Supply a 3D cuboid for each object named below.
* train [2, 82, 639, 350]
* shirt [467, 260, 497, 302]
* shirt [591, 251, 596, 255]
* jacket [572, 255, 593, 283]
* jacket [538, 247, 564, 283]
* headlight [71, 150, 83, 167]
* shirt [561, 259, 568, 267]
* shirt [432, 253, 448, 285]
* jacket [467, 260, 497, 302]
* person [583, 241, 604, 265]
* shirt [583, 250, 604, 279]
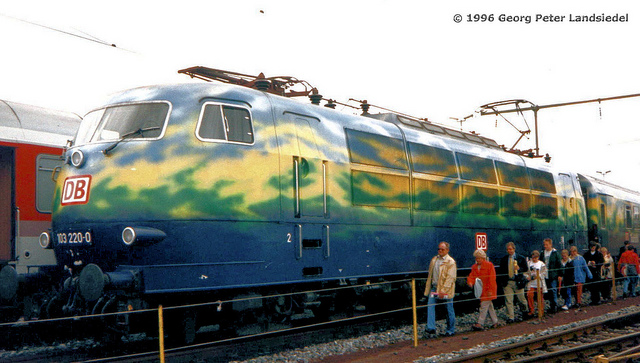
[{"bbox_3d":[6.049,0.478,22.063,32.631,7.405,6.500,-1,-1,-42],"label":"train"},{"bbox_3d":[4.635,2.811,13.705,0.792,1.003,0.791,6,-11,-37],"label":"shirt"},{"bbox_3d":[10.496,2.763,18.692,0.186,0.120,0.177,-1,-2,16],"label":"shirt"},{"bbox_3d":[9.186,3.145,17.467,1.071,0.880,0.391,-7,0,3],"label":"jacket"},{"bbox_3d":[7.785,2.876,16.384,0.768,1.265,1.427,-11,-14,35],"label":"jacket"},{"bbox_3d":[-5.486,-0.520,10.976,0.358,0.322,0.106,6,0,37],"label":"headlight"},{"bbox_3d":[8.848,2.979,17.600,0.240,0.274,0.107,2,-13,7],"label":"shirt"},{"bbox_3d":[3.134,2.368,12.821,0.547,0.645,0.255,0,-3,2],"label":"shirt"},{"bbox_3d":[4.625,2.796,13.696,0.926,1.031,0.858,2,-8,-24],"label":"jacket"},{"bbox_3d":[10.756,2.878,19.199,0.650,0.858,0.415,-16,-39,41],"label":"person"},{"bbox_3d":[10.521,3.189,18.595,0.899,1.037,0.385,1,-1,-7],"label":"shirt"}]
